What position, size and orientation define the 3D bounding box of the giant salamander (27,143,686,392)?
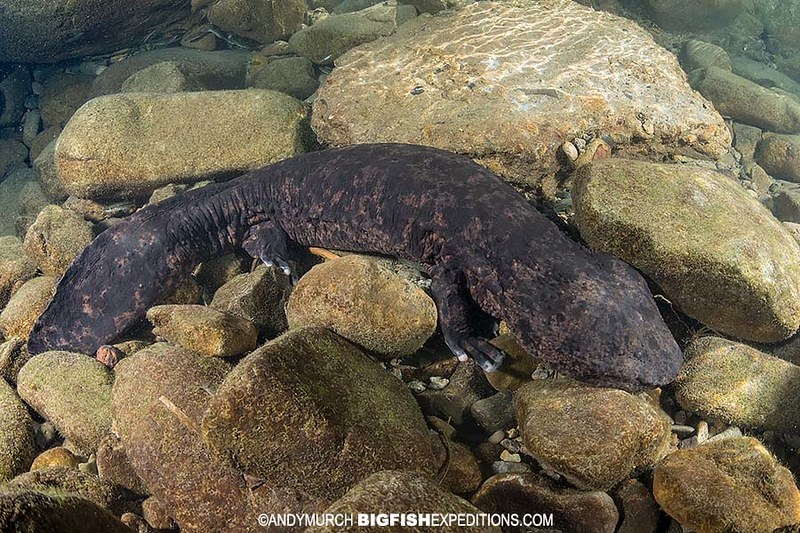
[{"bbox_3d":[-0.402,-0.094,16.613,10.436,1.839,3.588,7,59,7],"label":"giant salamander"}]
